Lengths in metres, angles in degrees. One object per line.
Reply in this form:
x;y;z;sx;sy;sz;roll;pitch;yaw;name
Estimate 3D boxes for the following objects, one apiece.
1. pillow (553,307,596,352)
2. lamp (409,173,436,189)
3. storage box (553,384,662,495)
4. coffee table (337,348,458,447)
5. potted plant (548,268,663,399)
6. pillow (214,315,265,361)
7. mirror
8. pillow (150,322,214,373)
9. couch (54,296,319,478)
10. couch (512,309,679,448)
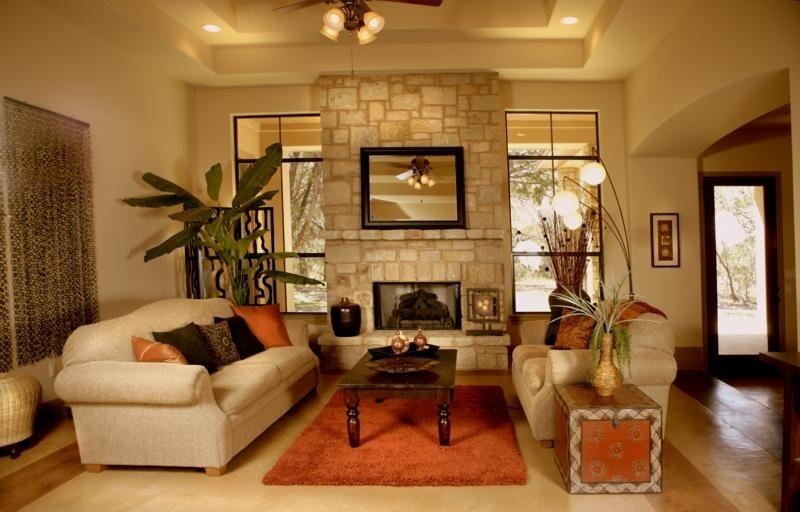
1.860;0.816;5.774;0.153;0.450;0.471;29;-14;-33;pillow
0.312;-1.094;8.022;0.359;0.216;0.104;4;4;0;lamp
1.924;1.685;5.219;0.943;0.749;0.894;-1;0;5;storage box
0.000;1.331;5.627;0.877;0.431;1.245;-1;3;1;coffee table
2.043;0.817;5.585;0.961;0.931;1.294;0;1;35;potted plant
-1.869;0.953;6.400;0.158;0.485;0.530;-35;-6;20;pillow
0.231;-1.017;7.968;1.389;0.955;0.101;0;0;-1;mirror
-2.343;1.066;5.777;0.166;0.503;0.555;-40;-17;22;pillow
-2.233;0.702;5.665;1.633;1.350;2.924;-1;1;6;couch
2.006;1.152;5.674;1.348;1.045;1.982;0;-1;11;couch
